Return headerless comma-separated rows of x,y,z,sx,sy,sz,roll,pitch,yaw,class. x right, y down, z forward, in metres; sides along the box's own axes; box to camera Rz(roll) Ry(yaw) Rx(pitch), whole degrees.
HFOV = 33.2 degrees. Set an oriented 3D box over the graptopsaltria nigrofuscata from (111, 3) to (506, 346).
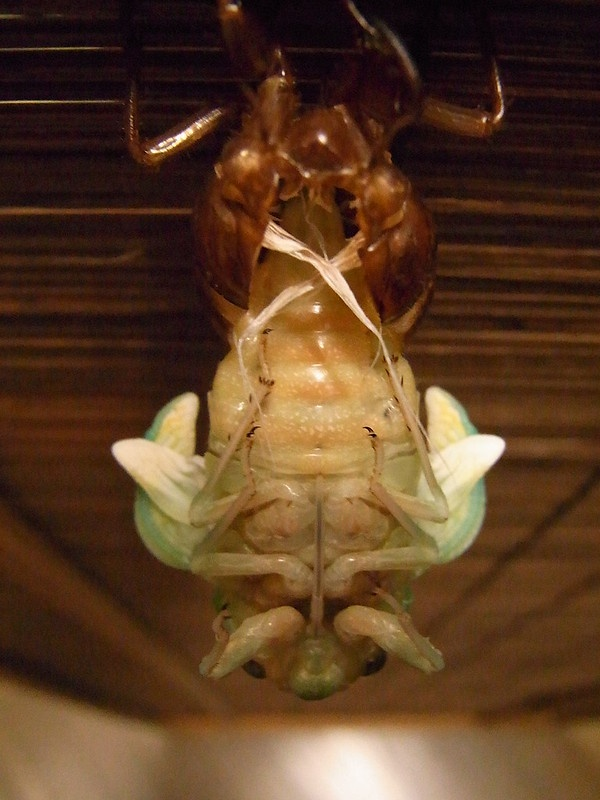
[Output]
0.052,-0.248,1.107,0.313,0.345,0.230,7,48,6,graptopsaltria nigrofuscata
